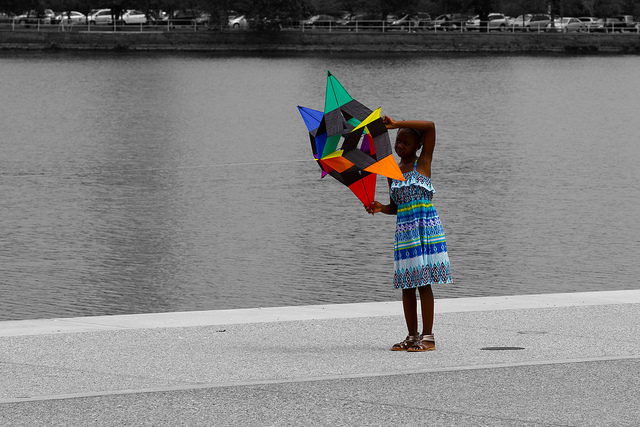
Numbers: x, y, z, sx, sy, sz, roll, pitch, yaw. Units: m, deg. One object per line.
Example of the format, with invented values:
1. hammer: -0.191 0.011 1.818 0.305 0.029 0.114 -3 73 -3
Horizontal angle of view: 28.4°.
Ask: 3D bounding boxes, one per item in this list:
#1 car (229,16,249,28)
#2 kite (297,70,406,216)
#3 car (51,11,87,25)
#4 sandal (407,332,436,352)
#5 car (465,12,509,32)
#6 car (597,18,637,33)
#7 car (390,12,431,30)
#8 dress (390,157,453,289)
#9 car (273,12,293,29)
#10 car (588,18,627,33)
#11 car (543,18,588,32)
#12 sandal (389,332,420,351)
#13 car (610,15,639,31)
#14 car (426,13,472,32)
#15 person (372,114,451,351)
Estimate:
1. car: -5.637 -13.058 86.037 1.061 0.881 1.817 -2 3 6
2. kite: 0.427 -0.951 16.798 1.314 1.894 0.489 -2 2 10
3. car: -17.277 -13.770 88.068 3.449 0.908 1.408 3 4 4
4. sandal: 1.329 1.713 16.617 0.370 0.135 0.178 1 -3 -27
5. car: 11.179 -13.055 84.703 3.214 1.317 1.747 4 6 -2
6. car: 19.998 -12.550 84.370 2.586 0.701 1.407 -4 12 -28
7. car: 6.133 -12.865 83.446 3.138 1.294 1.704 1 2 -10
8. dress: 1.511 0.148 16.867 0.803 1.593 0.883 1 0 15
9. car: -2.283 -11.956 78.328 1.108 0.813 2.628 -2 3 1
10. car: 18.919 -12.545 83.981 2.816 0.769 1.247 2 0 -27
11. car: 16.515 -12.564 84.219 2.088 1.015 2.110 -2 3 -3
12. sandal: 1.161 1.699 16.661 0.455 0.145 0.139 -10 5 -16
13. car: 20.898 -12.890 85.902 1.316 0.906 2.178 8 13 39
14. car: 8.683 -12.644 82.861 3.264 1.277 1.694 3 3 -4
15. person: 1.249 0.265 16.729 0.868 3.100 0.453 -3 2 2
